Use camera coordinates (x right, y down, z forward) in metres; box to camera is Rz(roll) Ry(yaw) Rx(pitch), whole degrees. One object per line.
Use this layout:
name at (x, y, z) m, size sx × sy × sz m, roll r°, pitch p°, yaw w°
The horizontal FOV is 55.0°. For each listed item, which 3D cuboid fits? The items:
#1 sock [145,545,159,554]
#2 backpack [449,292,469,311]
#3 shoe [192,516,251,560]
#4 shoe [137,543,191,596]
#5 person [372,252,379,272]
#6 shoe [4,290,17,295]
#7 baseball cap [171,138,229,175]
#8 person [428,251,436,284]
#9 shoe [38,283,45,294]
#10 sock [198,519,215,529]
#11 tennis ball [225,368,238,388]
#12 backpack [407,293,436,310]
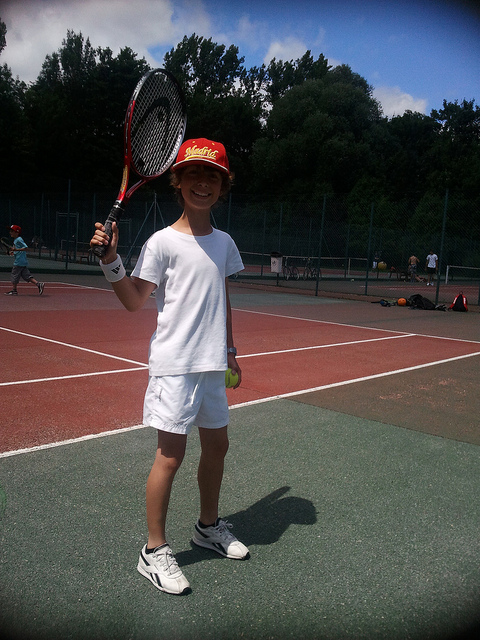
sock at (-0.322, 0.821, 1.655) m, size 0.016 × 0.024 × 0.047 m, roll 4°, pitch -6°, yaw -44°
backpack at (6.975, -0.548, 14.533) m, size 0.412 × 0.800 × 0.751 m, roll 6°, pitch 3°, yaw 4°
shoe at (-0.072, 0.916, 1.979) m, size 0.265 × 0.164 × 0.100 m, roll 8°, pitch 5°, yaw 35°
shoe at (-0.281, 0.877, 1.644) m, size 0.215 × 0.127 × 0.088 m, roll 13°, pitch -4°, yaw 37°
person at (9.690, -4.057, 32.959) m, size 0.370 × 1.222 × 3.171 m, roll 3°, pitch 3°, yaw 15°
shoe at (-6.403, -0.740, 12.791) m, size 0.341 × 0.193 × 0.132 m, roll 2°, pitch 2°, yaw 16°
baseball cap at (-0.134, -0.561, 1.734) m, size 0.152 × 0.146 × 0.280 m, roll 4°, pitch 5°, yaw -8°
person at (10.699, -2.853, 25.754) m, size 0.396 × 1.572 × 1.342 m, roll 3°, pitch 4°, yaw 22°
shoe at (-5.760, -0.885, 13.244) m, size 0.133 × 0.309 × 0.542 m, roll 0°, pitch 4°, yaw -26°
sock at (-0.141, 0.863, 1.938) m, size 0.067 × 0.038 × 0.026 m, roll 2°, pitch 4°, yaw 3°
tennis ball at (-0.040, 0.237, 1.849) m, size 0.027 × 0.081 × 0.097 m, roll 4°, pitch 4°, yaw 28°
backpack at (5.675, -0.512, 14.680) m, size 0.467 × 0.300 × 0.656 m, roll 8°, pitch -4°, yaw -24°
